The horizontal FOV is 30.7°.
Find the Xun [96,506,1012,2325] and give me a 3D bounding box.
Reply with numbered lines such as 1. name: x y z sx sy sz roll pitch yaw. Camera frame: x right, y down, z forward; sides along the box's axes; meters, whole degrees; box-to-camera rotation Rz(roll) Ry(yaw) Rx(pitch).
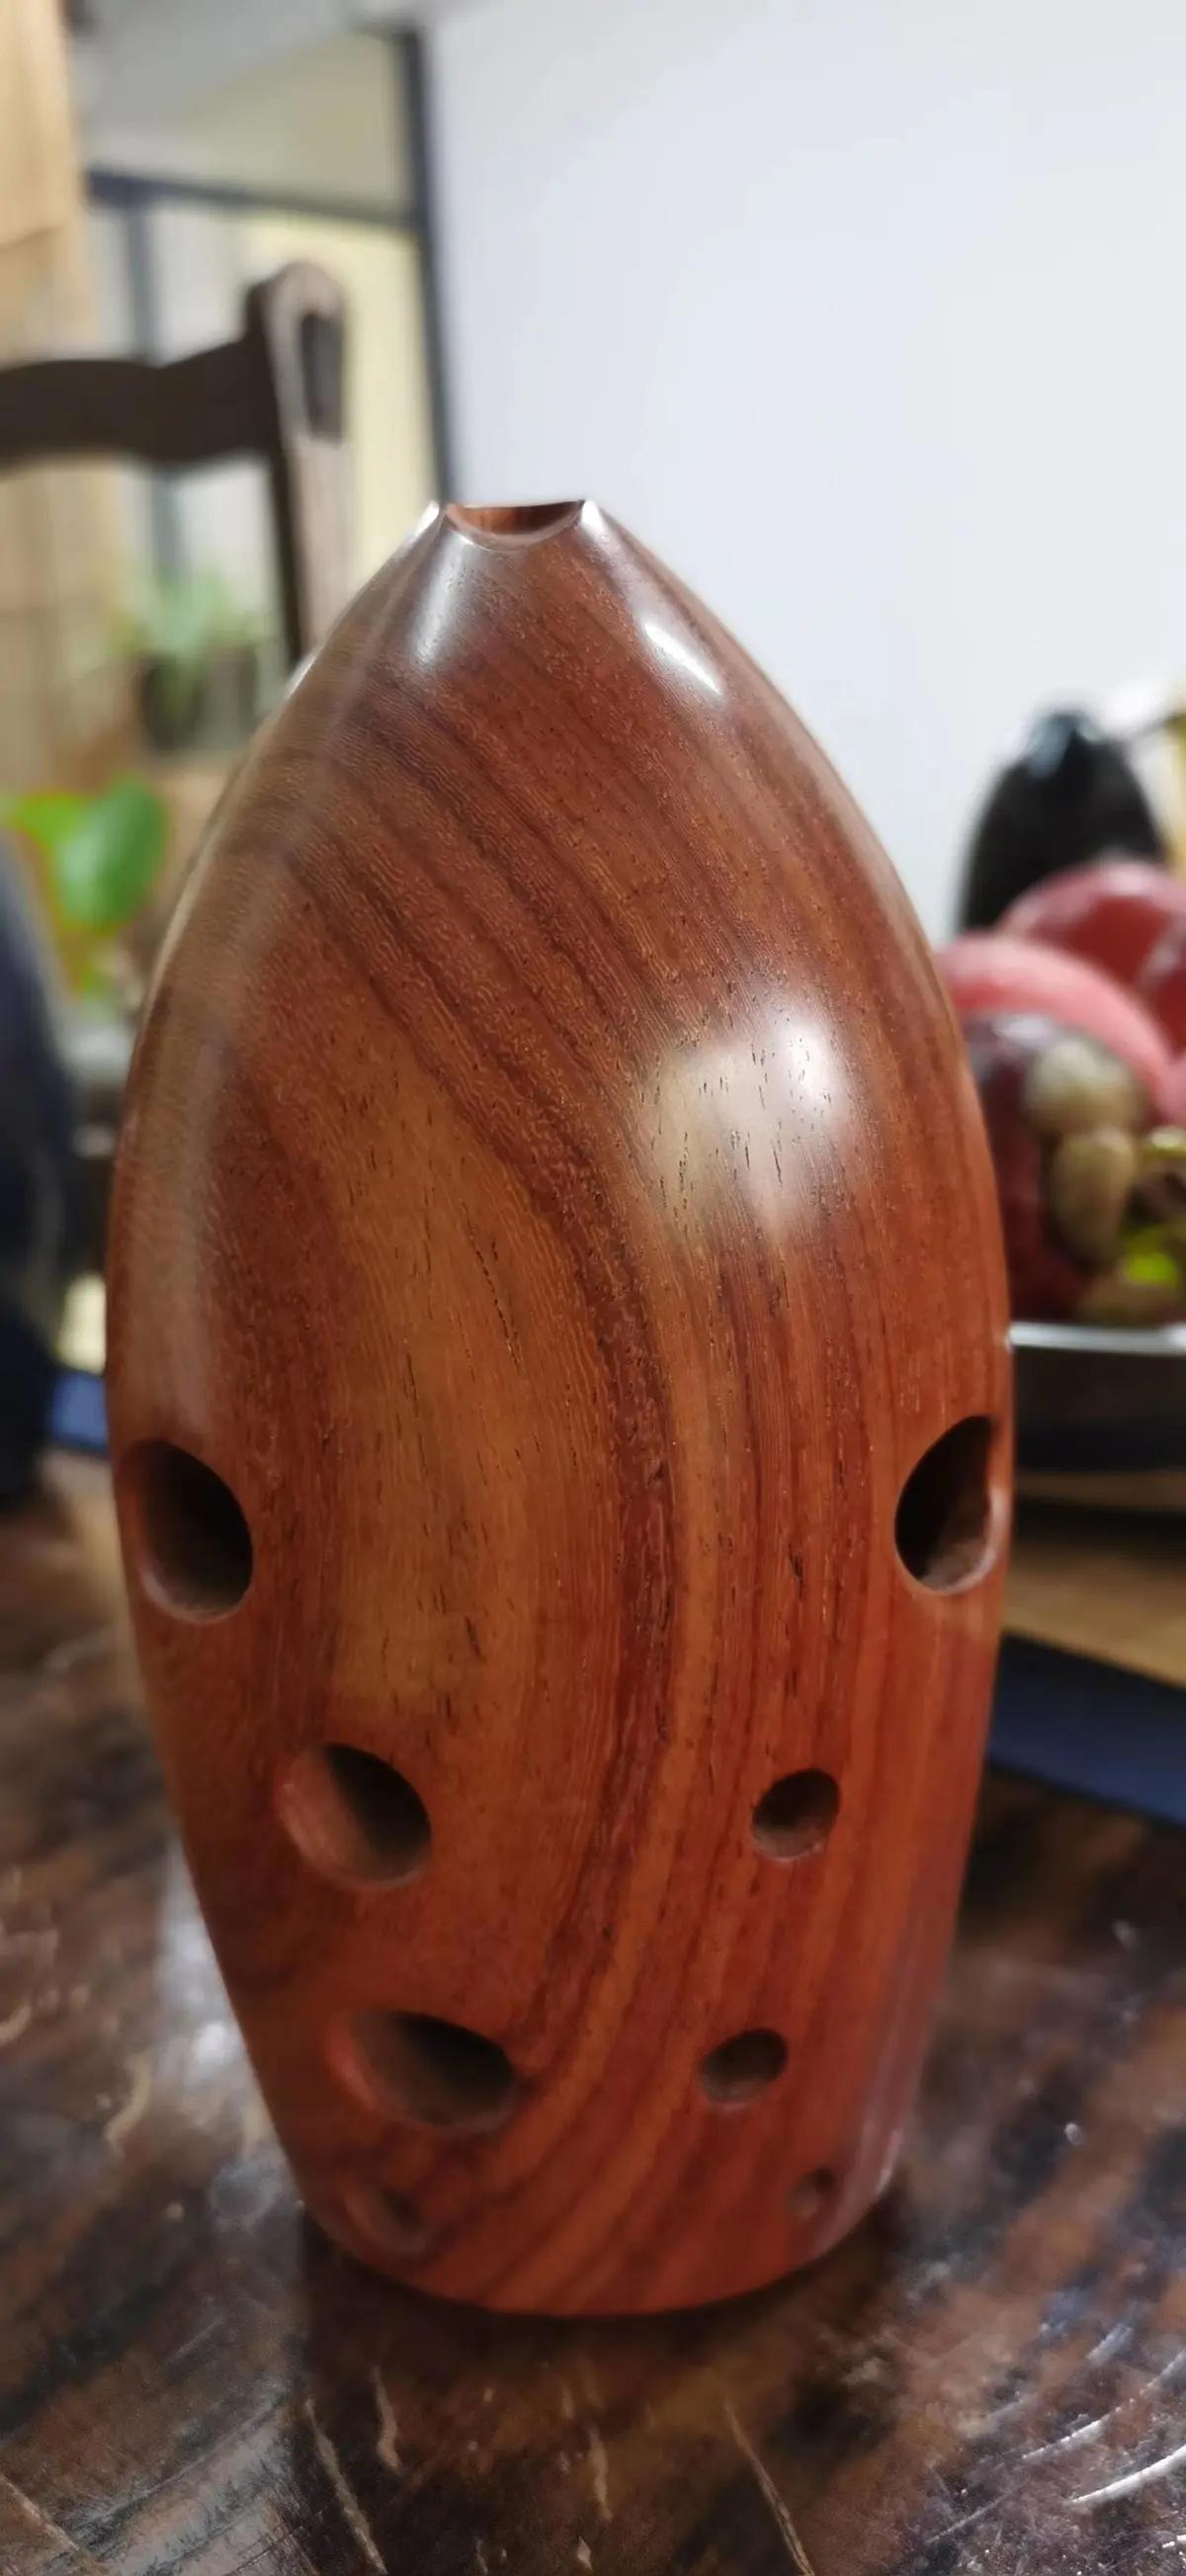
1. Xun: -0.009 0.034 0.415 0.169 0.355 0.105 3 14 16
